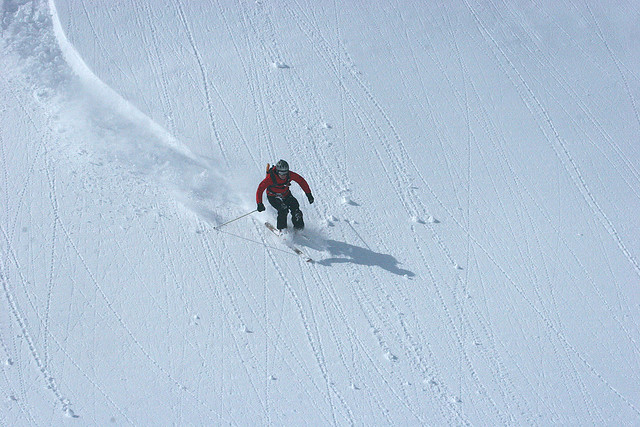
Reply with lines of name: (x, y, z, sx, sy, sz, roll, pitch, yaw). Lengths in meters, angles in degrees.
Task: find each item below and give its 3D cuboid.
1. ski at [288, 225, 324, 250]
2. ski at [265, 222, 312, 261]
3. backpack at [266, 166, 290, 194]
ski: (-0.396, 0.604, 35.636, 0.767, 0.106, 0.082, 43, 75, 0)
ski: (-0.831, 0.727, 35.567, 0.130, 0.129, 1.228, -45, 84, 1)
backpack: (-1.121, -0.890, 34.974, 0.606, 0.420, 0.607, 35, 123, 40)
